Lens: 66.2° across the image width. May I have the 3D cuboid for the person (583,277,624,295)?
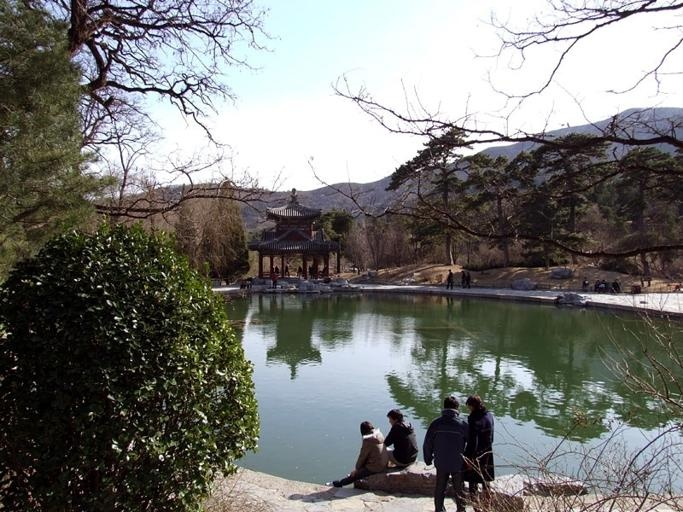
[{"bbox_3d":[12.777,1.538,25.308,1.241,0.465,0.900,-1,2,-7],"label":"person"}]

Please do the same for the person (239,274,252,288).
[{"bbox_3d":[-5.863,1.633,31.840,0.803,0.677,0.937,-1,6,0],"label":"person"}]

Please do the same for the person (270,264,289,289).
[{"bbox_3d":[-4.148,1.372,35.127,1.047,1.626,1.123,3,10,15],"label":"person"}]

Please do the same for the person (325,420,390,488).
[{"bbox_3d":[0.202,2.570,6.699,0.745,0.767,0.368,-9,-20,12],"label":"person"}]
